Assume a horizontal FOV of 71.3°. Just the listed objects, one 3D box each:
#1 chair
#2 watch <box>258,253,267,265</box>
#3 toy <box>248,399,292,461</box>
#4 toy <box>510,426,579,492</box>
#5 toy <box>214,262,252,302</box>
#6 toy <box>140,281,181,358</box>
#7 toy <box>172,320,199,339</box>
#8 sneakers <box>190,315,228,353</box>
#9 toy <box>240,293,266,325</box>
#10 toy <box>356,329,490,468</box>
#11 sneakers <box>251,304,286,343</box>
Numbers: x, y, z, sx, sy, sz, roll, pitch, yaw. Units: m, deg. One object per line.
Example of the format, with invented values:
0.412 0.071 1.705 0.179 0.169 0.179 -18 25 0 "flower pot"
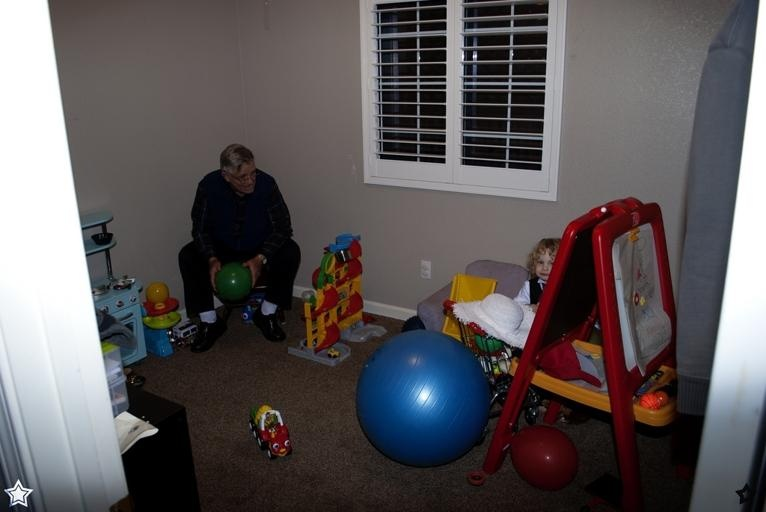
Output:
0.552 0.382 3.453 0.526 0.442 0.516 14 23 39 "chair"
-0.836 0.020 3.783 0.062 0.072 0.045 -14 23 22 "watch"
-0.574 0.882 2.788 0.142 0.172 0.287 -11 24 -29 "toy"
0.701 0.885 2.450 0.224 0.243 0.295 -4 14 -17 "toy"
-0.988 0.203 3.609 0.238 0.304 0.247 3 -13 -12 "toy"
-1.500 0.410 3.611 0.227 0.466 0.248 -10 21 -29 "toy"
-1.354 0.500 3.678 0.092 0.039 0.132 10 23 21 "toy"
-1.193 0.525 3.715 0.101 0.126 0.290 10 32 19 "sneakers"
-0.927 0.386 3.829 0.191 0.099 0.240 20 34 39 "toy"
0.184 0.661 2.568 0.568 0.574 0.595 6 64 1 "toy"
-0.804 0.443 3.868 0.140 0.159 0.387 -9 29 -41 "sneakers"
